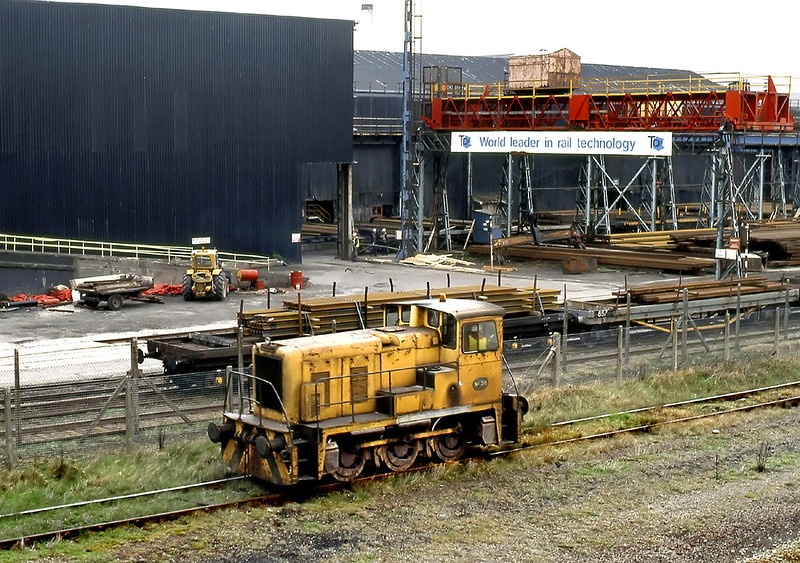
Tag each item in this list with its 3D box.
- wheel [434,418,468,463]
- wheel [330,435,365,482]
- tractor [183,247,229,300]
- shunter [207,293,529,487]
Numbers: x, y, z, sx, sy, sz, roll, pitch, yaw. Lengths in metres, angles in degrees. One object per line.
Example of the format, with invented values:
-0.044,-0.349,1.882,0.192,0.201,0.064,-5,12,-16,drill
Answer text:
1.363,4.392,34.829,1.151,1.478,0.143,3,2,-29,wheel
-1.376,4.816,33.581,1.123,1.251,0.307,-7,13,-35,wheel
-8.711,-0.443,56.181,1.776,2.376,3.603,2,7,0,tractor
-1.135,2.792,35.240,8.005,4.831,4.284,-7,8,-29,shunter
